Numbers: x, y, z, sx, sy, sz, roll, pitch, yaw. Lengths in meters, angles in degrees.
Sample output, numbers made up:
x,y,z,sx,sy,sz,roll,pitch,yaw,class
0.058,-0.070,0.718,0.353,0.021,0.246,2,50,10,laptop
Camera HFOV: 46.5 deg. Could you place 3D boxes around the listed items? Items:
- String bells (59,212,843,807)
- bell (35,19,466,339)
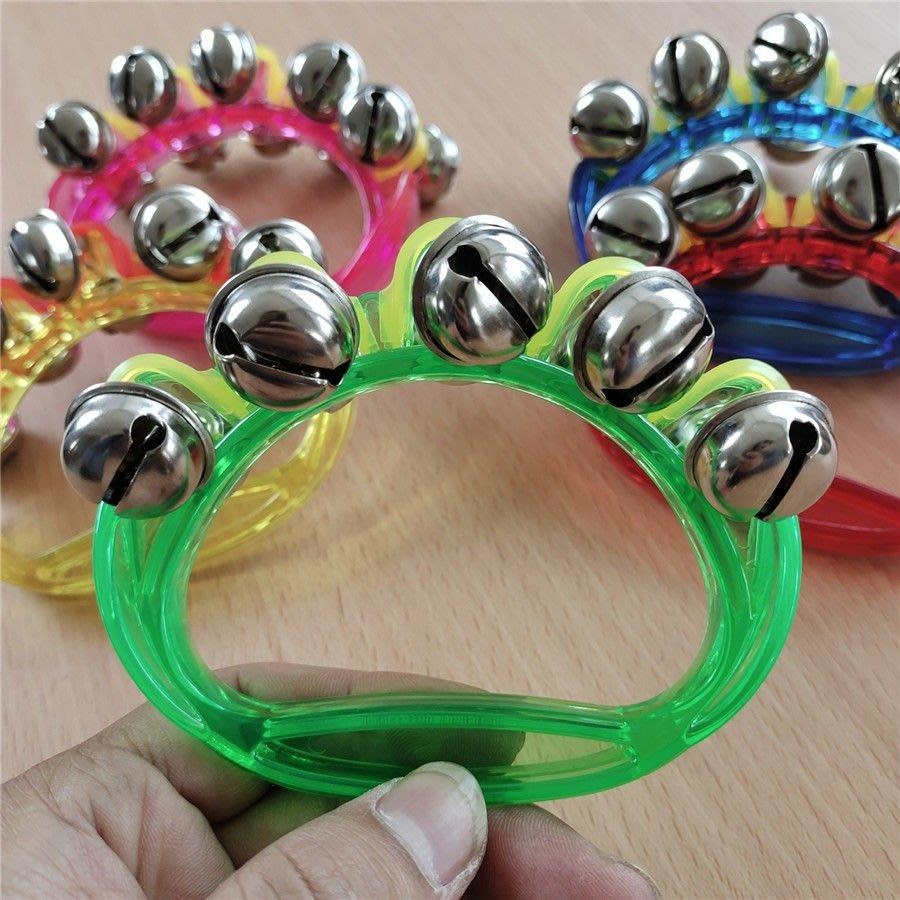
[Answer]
x,y,z,sx,sy,sz,roll,pitch,yaw,class
-0.008,0.033,0.644,0.422,0.411,0.140,1,28,-8,String bells
-0.164,-0.222,0.869,0.339,0.133,0.405,-2,88,4,bell
